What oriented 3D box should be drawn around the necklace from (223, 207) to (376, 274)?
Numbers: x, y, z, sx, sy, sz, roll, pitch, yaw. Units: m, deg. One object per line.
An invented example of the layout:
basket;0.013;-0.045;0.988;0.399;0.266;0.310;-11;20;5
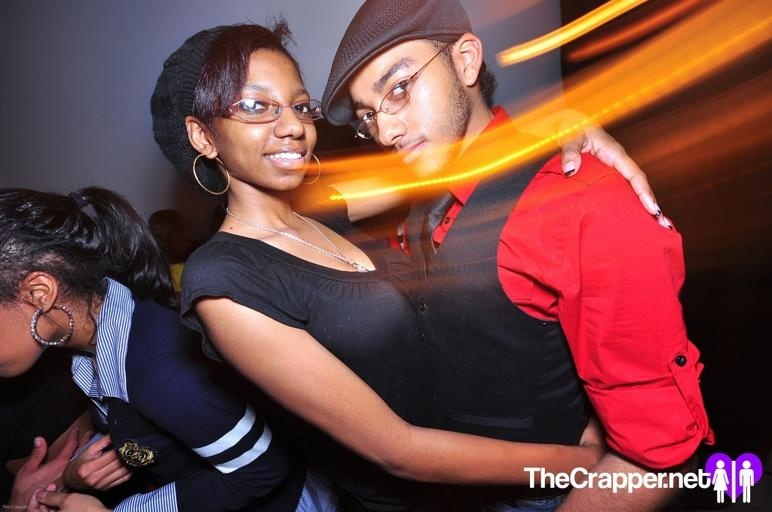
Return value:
necklace;-0.354;-0.064;2.823;0.563;0.041;0.341;35;22;20
